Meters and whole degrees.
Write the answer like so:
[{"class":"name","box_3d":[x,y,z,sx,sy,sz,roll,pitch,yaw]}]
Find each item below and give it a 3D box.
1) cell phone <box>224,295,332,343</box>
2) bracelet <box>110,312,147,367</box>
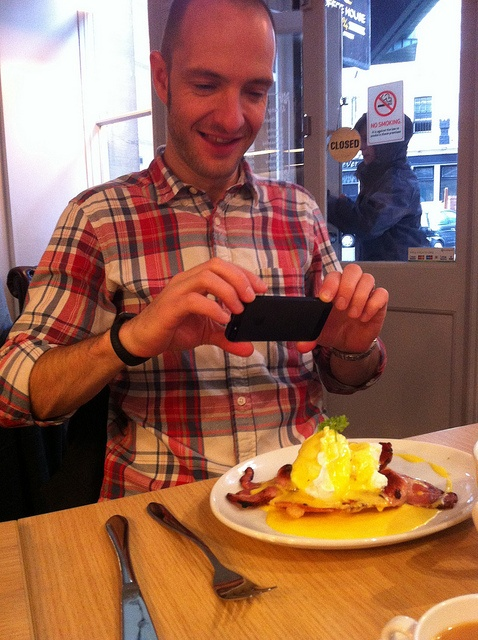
[{"class":"cell phone","box_3d":[0.069,0.003,0.849,0.193,0.096,0.096,-7,6,-33]},{"class":"bracelet","box_3d":[-0.198,0.037,0.900,0.081,0.086,0.032,-10,-4,-26]}]
